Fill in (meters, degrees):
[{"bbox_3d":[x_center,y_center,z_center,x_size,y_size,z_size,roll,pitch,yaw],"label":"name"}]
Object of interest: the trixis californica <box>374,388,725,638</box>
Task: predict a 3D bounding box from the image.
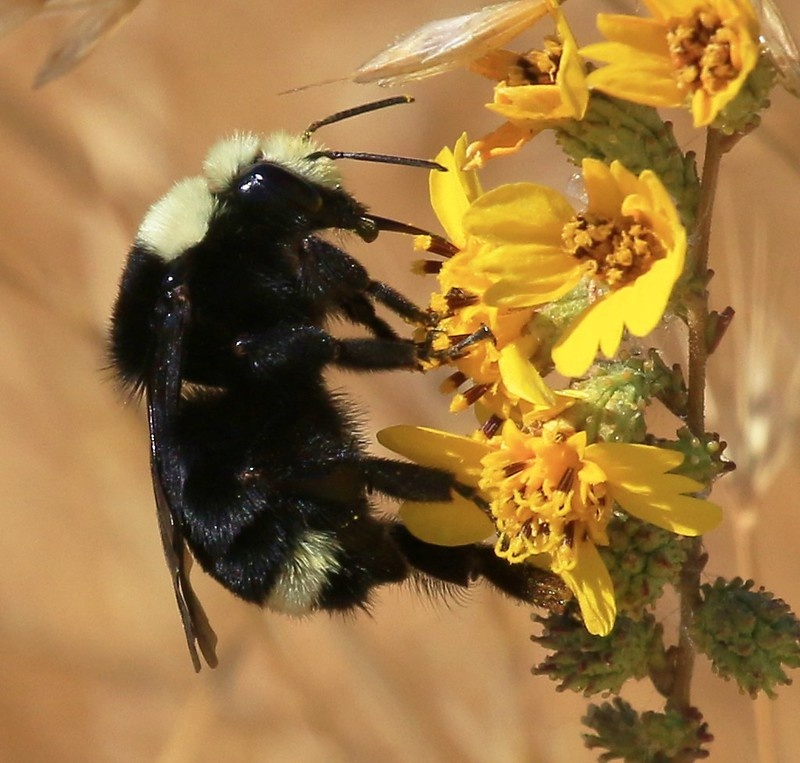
[{"bbox_3d":[0.170,0.129,1.520,0.427,0.347,0.132,19,99,-8],"label":"trixis californica"}]
